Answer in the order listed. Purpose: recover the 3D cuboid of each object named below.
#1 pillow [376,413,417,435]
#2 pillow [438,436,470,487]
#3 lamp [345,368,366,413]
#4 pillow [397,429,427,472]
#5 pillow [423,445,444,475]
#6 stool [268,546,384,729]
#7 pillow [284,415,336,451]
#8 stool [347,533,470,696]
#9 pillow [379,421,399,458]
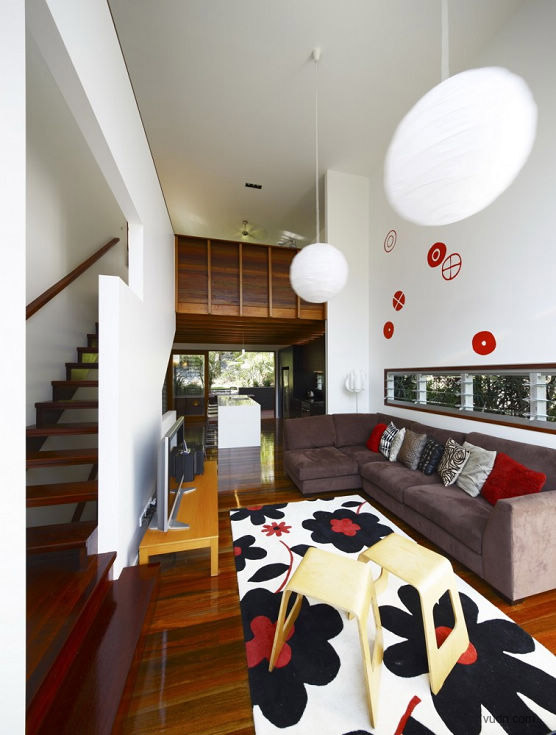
[{"bbox_3d":[1.274,0.646,5.097,0.077,0.151,0.567,9,0,-16],"label":"pillow"},{"bbox_3d":[1.391,0.779,3.859,0.142,0.335,0.411,19,6,-2],"label":"pillow"},{"bbox_3d":[0.963,0.324,5.968,0.239,0.565,0.471,1,7,9],"label":"lamp"},{"bbox_3d":[1.226,0.772,4.305,0.084,0.251,0.282,4,-2,-5],"label":"pillow"},{"bbox_3d":[1.313,0.798,3.988,0.083,0.262,0.169,17,-14,-23],"label":"pillow"},{"bbox_3d":[0.268,1.135,2.213,0.471,0.559,0.563,7,4,15],"label":"stool"},{"bbox_3d":[0.354,0.739,5.252,0.439,0.365,0.127,-1,-23,-24],"label":"pillow"},{"bbox_3d":[0.650,1.188,2.394,0.320,0.512,0.524,-17,18,-37],"label":"stool"},{"bbox_3d":[1.113,0.747,4.784,0.067,0.259,0.250,17,23,-2],"label":"pillow"}]
